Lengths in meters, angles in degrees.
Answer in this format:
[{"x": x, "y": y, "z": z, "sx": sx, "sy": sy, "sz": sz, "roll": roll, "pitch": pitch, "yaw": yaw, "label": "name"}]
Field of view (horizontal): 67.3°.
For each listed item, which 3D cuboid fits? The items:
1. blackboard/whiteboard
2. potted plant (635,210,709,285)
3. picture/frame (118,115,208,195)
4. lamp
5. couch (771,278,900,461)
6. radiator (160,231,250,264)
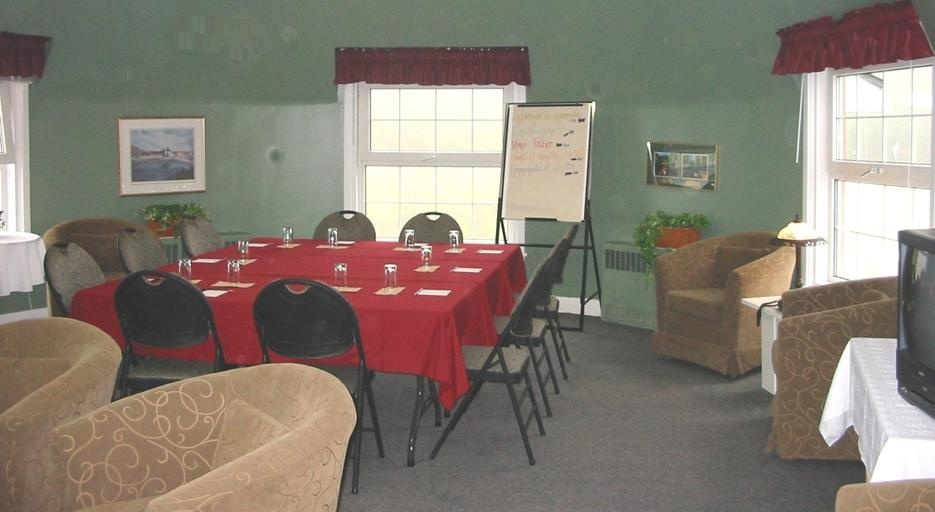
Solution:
[{"x": 0.884, "y": -1.020, "z": 7.725, "sx": 1.399, "sy": 1.505, "sz": 0.109, "roll": 3, "pitch": -1, "yaw": 13, "label": "blackboard/whiteboard"}, {"x": 2.145, "y": -0.142, "z": 7.520, "sx": 0.831, "sy": 0.558, "sz": 0.678, "roll": 1, "pitch": 8, "yaw": 19, "label": "potted plant"}, {"x": -3.622, "y": -1.216, "z": 8.267, "sx": 1.026, "sy": 0.892, "sz": 0.098, "roll": -1, "pitch": 0, "yaw": -17, "label": "picture/frame"}, {"x": 2.910, "y": 0.008, "z": 6.222, "sx": 0.503, "sy": 0.688, "sz": 0.486, "roll": -3, "pitch": 4, "yaw": 16, "label": "lamp"}, {"x": 2.675, "y": 0.889, "z": 5.699, "sx": 1.287, "sy": 1.377, "sz": 1.387, "roll": 1, "pitch": 4, "yaw": 28, "label": "couch"}, {"x": -3.095, "y": -0.268, "z": 8.244, "sx": 0.452, "sy": 0.621, "sz": 0.670, "roll": 1, "pitch": 8, "yaw": 27, "label": "radiator"}]
